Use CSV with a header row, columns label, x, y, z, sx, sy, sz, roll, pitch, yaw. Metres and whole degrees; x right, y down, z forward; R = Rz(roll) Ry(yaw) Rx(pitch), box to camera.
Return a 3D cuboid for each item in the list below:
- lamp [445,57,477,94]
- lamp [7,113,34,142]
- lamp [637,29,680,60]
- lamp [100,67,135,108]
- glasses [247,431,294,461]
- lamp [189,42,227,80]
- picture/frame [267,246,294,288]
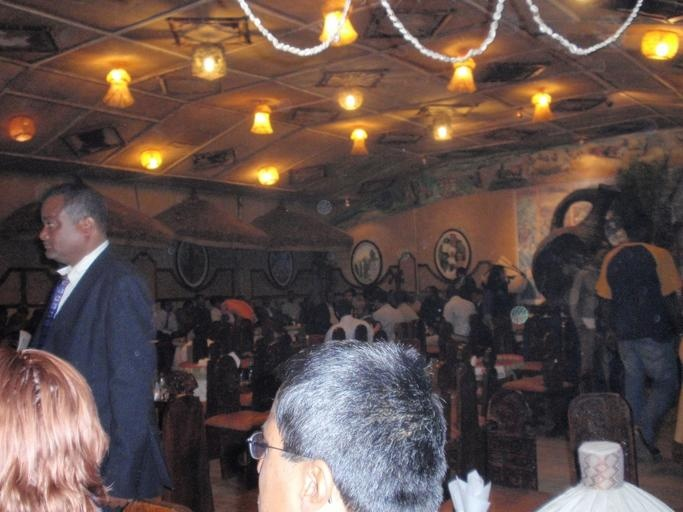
label,x,y,z,sx,sy,sz,roll,pitch,yaw
lamp,1.129,-1.736,6.325,0.333,0.330,0.331,11,21,28
lamp,-3.293,-1.328,6.901,0.232,0.215,0.149,6,-2,-15
lamp,2.731,-1.832,5.748,0.234,0.135,0.234,1,3,33
lamp,-2.125,-1.669,6.462,0.344,0.376,0.356,-9,26,-33
glasses,-0.223,0.585,2.090,0.118,0.041,0.110,12,-11,6
lamp,-1.144,-1.711,5.864,0.252,0.226,0.249,-4,-5,18
picture/frame,-0.802,0.175,8.884,0.391,0.455,0.113,2,-5,-31
